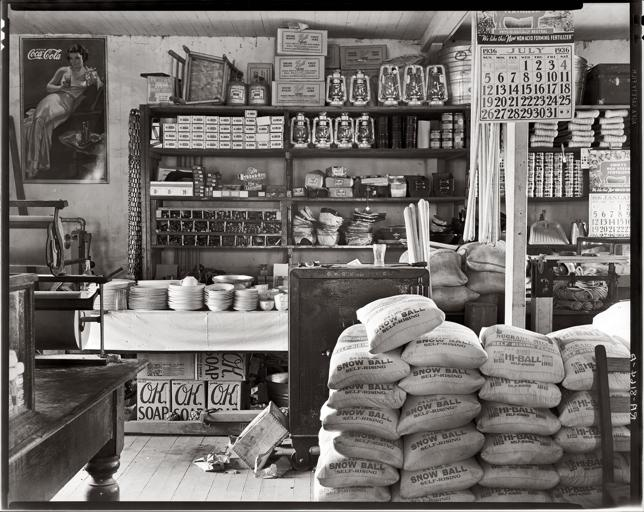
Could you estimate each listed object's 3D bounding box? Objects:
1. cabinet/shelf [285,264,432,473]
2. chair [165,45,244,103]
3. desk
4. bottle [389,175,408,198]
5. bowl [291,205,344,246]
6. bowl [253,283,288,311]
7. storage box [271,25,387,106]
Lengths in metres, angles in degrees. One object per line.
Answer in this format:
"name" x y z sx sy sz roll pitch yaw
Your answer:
"cabinet/shelf" 0.263 0.732 5.651 1.185 1.797 1.072 0 -2 1
"chair" -1.172 -1.777 7.461 0.729 0.500 0.506 1 4 -8
"desk" -1.195 0.885 3.723 0.612 0.261 0.964 -1 0 -1
"bottle" 0.758 -0.693 7.470 0.195 0.280 0.193 0 -3 0
"bowl" -0.059 -0.273 7.607 0.423 0.335 0.430 0 -3 0
"bowl" -0.411 0.350 6.311 0.234 0.144 0.212 0 0 13
"storage box" 0.039 -1.769 7.560 1.151 1.172 0.651 0 -1 -5
